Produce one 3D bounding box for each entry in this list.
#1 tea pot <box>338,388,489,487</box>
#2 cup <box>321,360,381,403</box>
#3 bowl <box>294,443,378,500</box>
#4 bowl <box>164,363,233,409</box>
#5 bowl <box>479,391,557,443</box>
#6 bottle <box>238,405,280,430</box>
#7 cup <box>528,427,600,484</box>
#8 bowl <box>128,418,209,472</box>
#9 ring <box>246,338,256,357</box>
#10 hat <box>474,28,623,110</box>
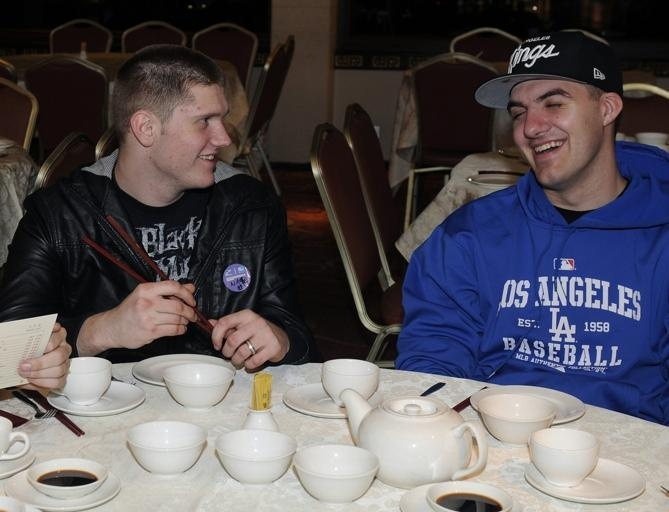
[{"bbox_3d":[0.114,0.275,0.801,0.224,0.121,0.165,3,0,42],"label":"tea pot"},{"bbox_3d":[0.032,0.219,0.988,0.086,0.062,0.091,5,15,-1],"label":"cup"},{"bbox_3d":[0.004,0.264,0.707,0.083,0.038,0.083,5,5,0],"label":"bowl"},{"bbox_3d":[-0.254,0.223,1.000,0.088,0.039,0.090,3,9,0],"label":"bowl"},{"bbox_3d":[0.297,0.279,0.893,0.117,0.053,0.121,-5,20,2],"label":"bowl"},{"bbox_3d":[-0.114,0.252,0.819,0.036,0.036,0.037,1,10,4],"label":"bottle"},{"bbox_3d":[0.323,0.281,0.756,0.080,0.052,0.076,-3,7,0],"label":"cup"},{"bbox_3d":[-0.244,0.289,0.782,0.104,0.049,0.105,4,-3,0],"label":"bowl"},{"bbox_3d":[-0.184,0.202,1.180,0.025,0.026,0.026,-8,-4,-1],"label":"ring"},{"bbox_3d":[0.621,-0.542,1.526,0.404,0.187,0.333,0,5,-39],"label":"hat"}]
